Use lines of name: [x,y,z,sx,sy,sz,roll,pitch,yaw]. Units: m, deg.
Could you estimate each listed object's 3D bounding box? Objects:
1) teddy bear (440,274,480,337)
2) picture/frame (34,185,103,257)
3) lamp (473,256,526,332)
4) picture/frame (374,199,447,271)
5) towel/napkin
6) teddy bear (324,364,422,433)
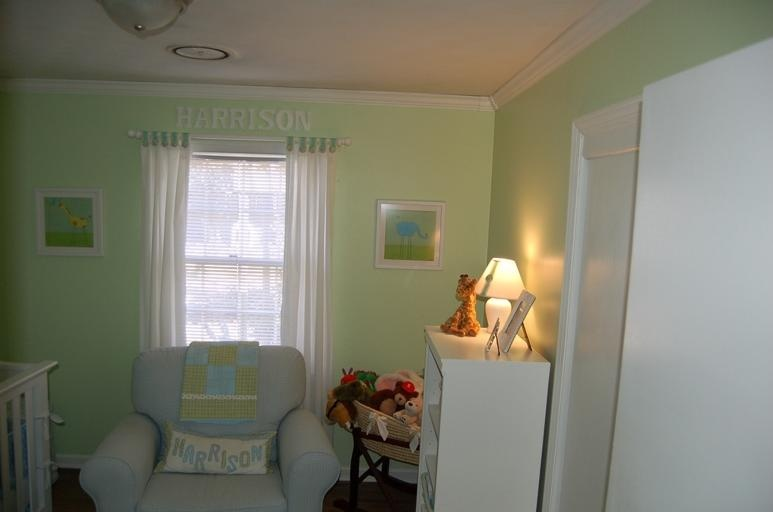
teddy bear: [0.453,0.292,3.567,0.261,0.348,0.245,-2,7,-39]
picture/frame: [-2.226,-0.262,4.127,0.518,0.561,0.043,0,1,-10]
lamp: [0.678,0.238,3.565,0.306,0.457,0.317,3,8,-15]
picture/frame: [0.153,-0.176,4.341,0.488,0.510,0.035,1,6,-1]
towel/napkin: [-1.049,0.803,3.726,0.419,0.450,0.110,-2,-24,-7]
teddy bear: [-0.075,0.899,3.840,0.389,0.231,0.497,6,-5,-18]
